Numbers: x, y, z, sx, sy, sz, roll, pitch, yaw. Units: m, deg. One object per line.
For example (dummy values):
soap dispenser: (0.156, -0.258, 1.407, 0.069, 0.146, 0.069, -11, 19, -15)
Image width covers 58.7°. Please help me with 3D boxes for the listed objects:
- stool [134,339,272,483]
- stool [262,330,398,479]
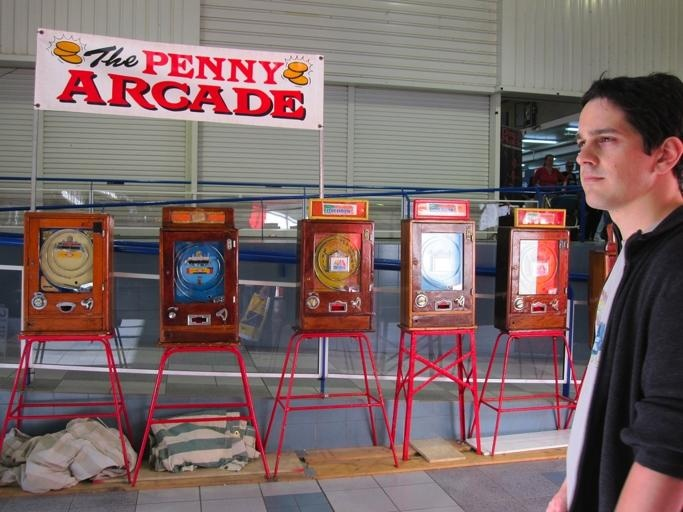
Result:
stool: (-1.191, 1.283, 5.087, 1.300, 1.035, 1.050, 4, -11, -22)
stool: (-0.141, 1.344, 5.432, 1.266, 1.026, 0.553, 1, -7, -13)
